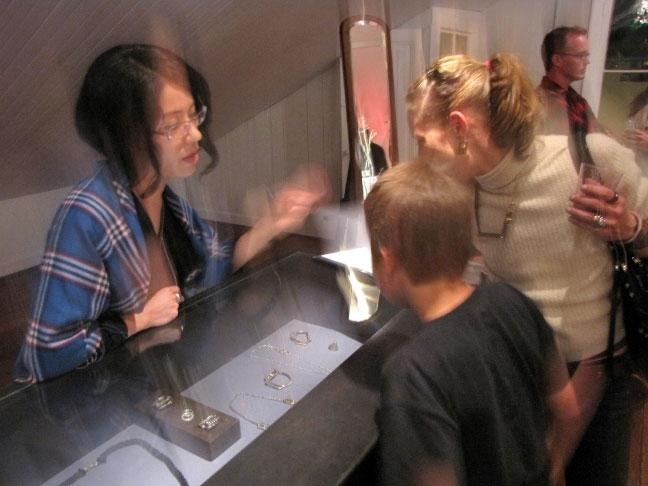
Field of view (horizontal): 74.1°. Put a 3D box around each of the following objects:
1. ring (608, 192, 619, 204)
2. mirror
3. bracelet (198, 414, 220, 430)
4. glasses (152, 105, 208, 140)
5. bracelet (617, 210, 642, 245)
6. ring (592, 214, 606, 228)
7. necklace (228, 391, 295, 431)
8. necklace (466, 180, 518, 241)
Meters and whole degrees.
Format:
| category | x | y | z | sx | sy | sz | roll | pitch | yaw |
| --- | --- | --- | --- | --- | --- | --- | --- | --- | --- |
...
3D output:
| category | x | y | z | sx | sy | sz | roll | pitch | yaw |
| --- | --- | --- | --- | --- | --- | --- | --- | --- | --- |
| ring | 0.255 | -0.039 | 0.381 | 0.004 | 0.010 | 0.007 | 12 | 0 | -10 |
| mirror | 0.047 | -0.132 | 0.440 | 0.063 | 0.183 | 0.049 | 4 | 27 | 18 |
| bracelet | -0.112 | 0.177 | 0.423 | 0.011 | 0.005 | 0.011 | 7 | 35 | 42 |
| glasses | -0.156 | -0.129 | 0.487 | 0.061 | 0.018 | 0.061 | 6 | 7 | 39 |
| bracelet | 0.280 | -0.014 | 0.393 | 0.011 | 0.028 | 0.024 | 1 | -3 | -39 |
| ring | 0.244 | -0.020 | 0.382 | 0.009 | 0.013 | 0.006 | -8 | 5 | 8 |
| necklace | -0.067 | 0.175 | 0.461 | 0.048 | 0.013 | 0.032 | 16 | 30 | 28 |
| necklace | 0.150 | -0.032 | 0.398 | 0.030 | 0.052 | 0.013 | 4 | 21 | 33 |
